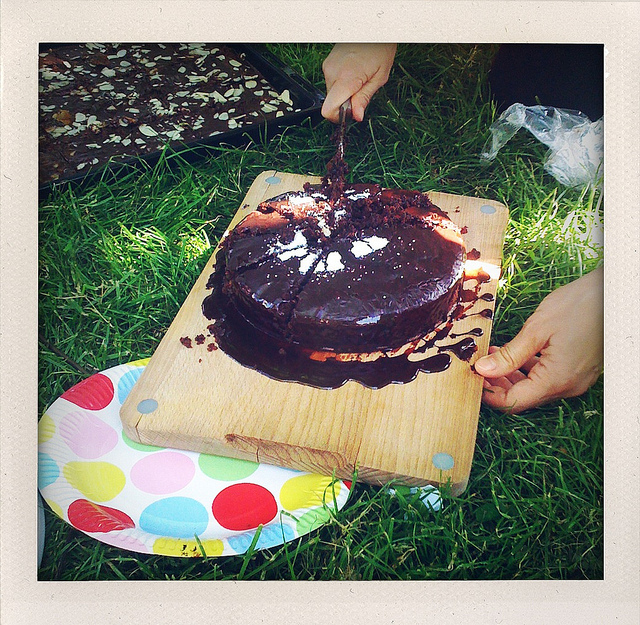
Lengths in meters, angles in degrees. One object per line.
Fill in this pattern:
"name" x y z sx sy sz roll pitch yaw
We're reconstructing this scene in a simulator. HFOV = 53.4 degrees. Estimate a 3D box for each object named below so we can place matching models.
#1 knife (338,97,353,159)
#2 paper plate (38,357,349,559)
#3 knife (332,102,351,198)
"knife" 0.047 -0.397 1.360 0.036 0.113 0.017 2 16 -18
"paper plate" -0.286 0.334 1.293 0.616 0.064 0.355 9 68 4
"knife" 0.043 -0.348 1.374 0.034 0.205 0.027 -15 24 -39
